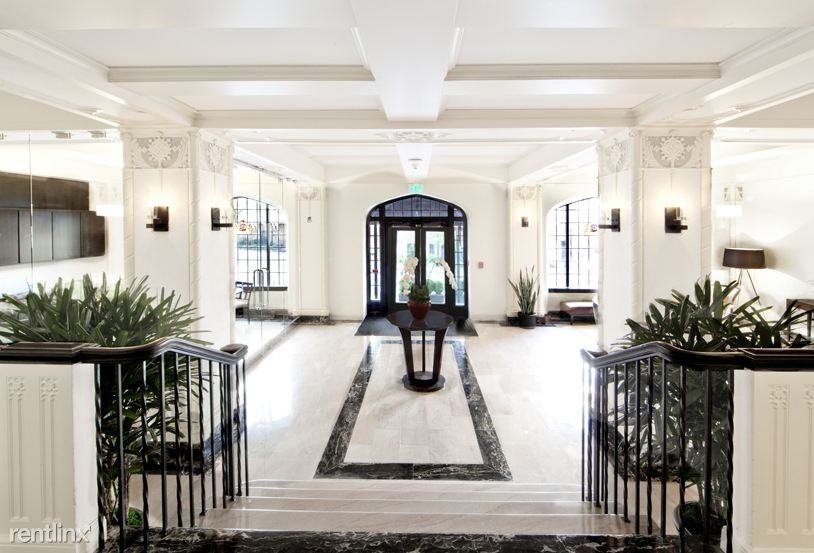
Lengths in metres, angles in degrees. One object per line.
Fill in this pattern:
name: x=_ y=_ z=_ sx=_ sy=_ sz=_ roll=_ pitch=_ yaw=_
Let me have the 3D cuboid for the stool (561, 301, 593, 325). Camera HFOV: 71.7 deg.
stool: x=3.525 y=0.725 z=11.686 sx=0.614 sy=0.418 sz=0.778 roll=1 pitch=10 yaw=2

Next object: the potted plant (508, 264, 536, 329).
potted plant: x=2.335 y=0.405 z=11.283 sx=0.624 sy=1.157 sz=0.641 roll=2 pitch=10 yaw=10

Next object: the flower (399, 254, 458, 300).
flower: x=0.287 y=-0.049 z=8.468 sx=0.841 sy=0.539 sz=0.976 roll=0 pitch=1 yaw=2

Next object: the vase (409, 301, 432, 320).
vase: x=0.171 y=0.481 z=7.900 sx=0.266 sy=0.181 sz=0.262 roll=0 pitch=0 yaw=-1

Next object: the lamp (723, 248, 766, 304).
lamp: x=5.580 y=-0.089 z=9.373 sx=0.557 sy=0.817 sz=0.550 roll=-3 pitch=22 yaw=20

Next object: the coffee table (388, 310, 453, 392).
coffee table: x=0.222 y=1.041 z=7.968 sx=0.962 sy=0.999 sz=1.020 roll=-1 pitch=0 yaw=3
